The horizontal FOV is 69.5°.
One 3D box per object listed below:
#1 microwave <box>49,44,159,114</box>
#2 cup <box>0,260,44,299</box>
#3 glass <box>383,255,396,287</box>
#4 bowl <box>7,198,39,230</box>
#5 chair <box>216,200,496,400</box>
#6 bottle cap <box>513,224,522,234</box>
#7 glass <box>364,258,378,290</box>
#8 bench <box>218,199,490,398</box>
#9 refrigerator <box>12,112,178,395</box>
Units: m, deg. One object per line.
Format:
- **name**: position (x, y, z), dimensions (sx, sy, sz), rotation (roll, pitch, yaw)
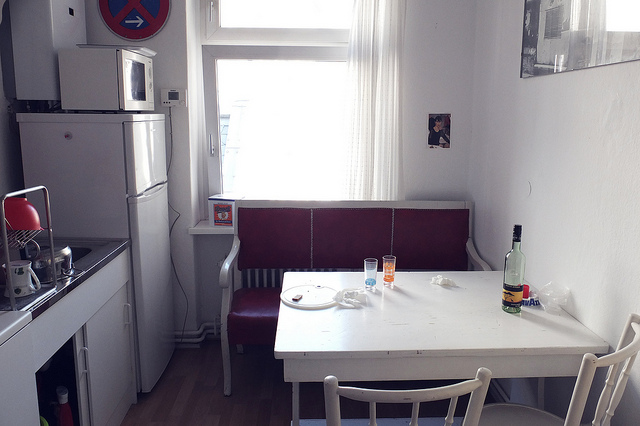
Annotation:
- **microwave**: position (-1.335, -0.793, 2.996), dimensions (0.323, 0.315, 0.494), rotation (-7, 12, 3)
- **cup**: position (-1.378, 0.305, 2.125), dimensions (0.187, 0.146, 0.130), rotation (6, 3, -7)
- **glass**: position (0.398, 0.316, 2.663), dimensions (0.066, 0.157, 0.174), rotation (1, 13, 8)
- **bowl**: position (-1.325, 0.012, 2.122), dimensions (0.143, 0.150, 0.102), rotation (1, 9, -12)
- **chair**: position (0.238, 0.604, 3.248), dimensions (1.792, 1.221, 0.680), rotation (0, 15, 0)
- **bottle cap**: position (0.971, 0.079, 2.255), dimensions (0.043, 0.048, 0.044), rotation (-1, 6, -10)
- **glass**: position (0.283, 0.340, 2.591), dimensions (0.064, 0.144, 0.116), rotation (0, 13, 3)
- **bench**: position (0.235, 0.609, 3.251), dimensions (1.779, 1.285, 0.668), rotation (0, 15, 2)
- **refrigerator**: position (-1.361, 0.283, 2.983), dimensions (0.826, 1.823, 0.470), rotation (-6, 14, -23)
